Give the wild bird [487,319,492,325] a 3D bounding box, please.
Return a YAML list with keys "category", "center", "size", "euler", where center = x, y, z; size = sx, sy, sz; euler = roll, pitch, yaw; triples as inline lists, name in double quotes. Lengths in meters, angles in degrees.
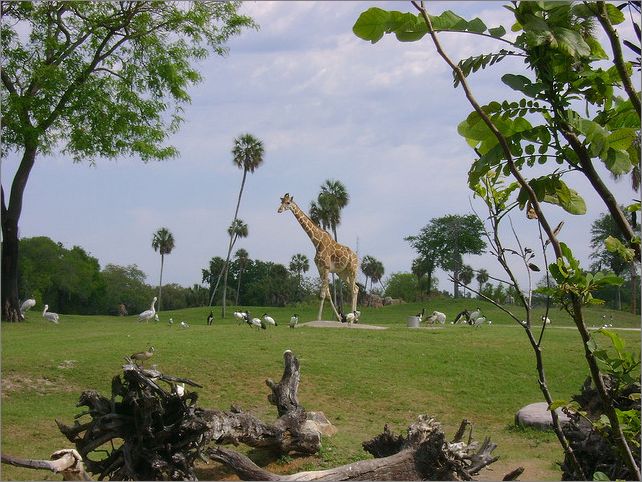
- category: "wild bird"
  center: [12.429, 6.011, 41.626]
  size: [0.166, 0.326, 0.506]
  euler: [12, -26, 30]
